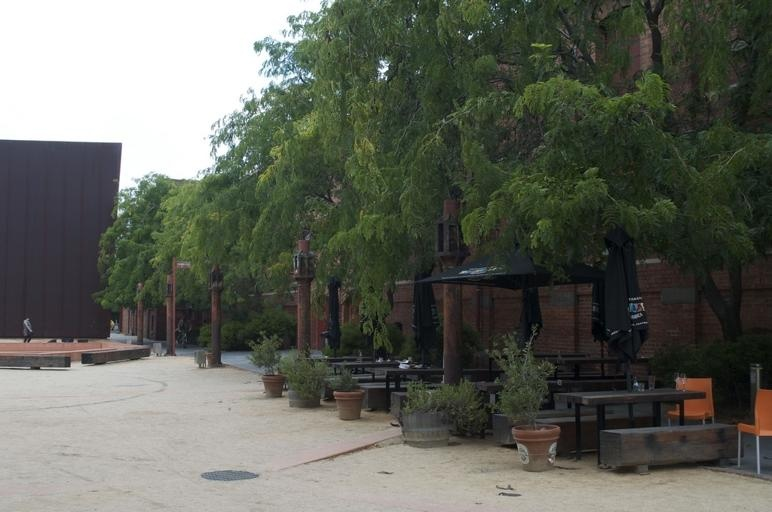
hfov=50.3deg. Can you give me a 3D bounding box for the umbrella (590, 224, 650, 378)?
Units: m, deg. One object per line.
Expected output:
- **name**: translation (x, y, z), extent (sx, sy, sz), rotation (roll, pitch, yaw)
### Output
- **umbrella**: translation (4.350, 0.815, 15.458), extent (0.958, 2.469, 1.363), rotation (-2, -8, 14)

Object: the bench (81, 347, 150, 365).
- **bench**: translation (-12.608, 4.697, 38.647), extent (0.355, 0.571, 5.041), rotation (-4, -8, 15)

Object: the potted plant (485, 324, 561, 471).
- **potted plant**: translation (2.757, 2.815, 16.520), extent (1.214, 2.688, 3.279), rotation (-1, -9, 7)

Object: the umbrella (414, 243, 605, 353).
- **umbrella**: translation (3.315, 1.166, 21.517), extent (3.183, 2.388, 3.312), rotation (-2, -7, 33)

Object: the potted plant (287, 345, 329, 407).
- **potted plant**: translation (-2.076, 3.309, 21.615), extent (1.119, 1.339, 1.143), rotation (6, -10, -31)

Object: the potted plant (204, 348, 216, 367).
- **potted plant**: translation (-7.404, 4.327, 34.662), extent (0.557, 0.630, 0.594), rotation (-1, -6, -1)
